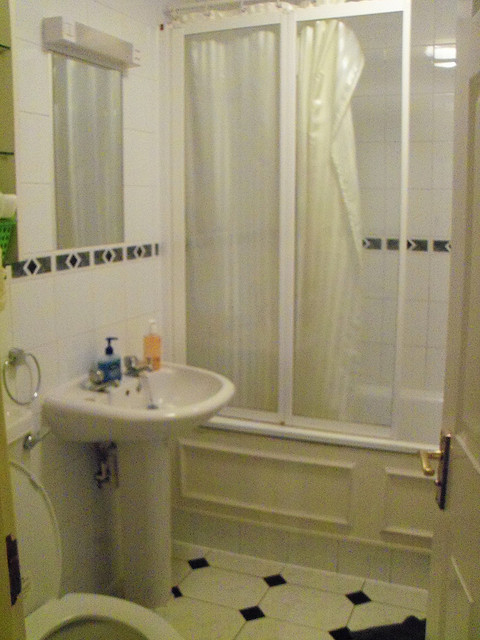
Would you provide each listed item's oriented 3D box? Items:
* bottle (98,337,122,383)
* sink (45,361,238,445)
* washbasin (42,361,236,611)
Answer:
[{"bbox_3d":[-0.443,0.136,1.804,0.073,0.154,0.074,-1,4,0],"label":"bottle"},{"bbox_3d":[-0.280,0.279,1.800,0.458,0.176,0.587,4,10,25],"label":"sink"},{"bbox_3d":[-0.446,0.625,1.925,0.506,0.832,0.722,11,9,38],"label":"washbasin"}]
